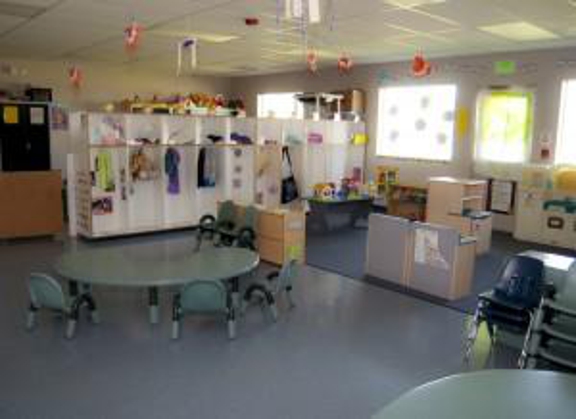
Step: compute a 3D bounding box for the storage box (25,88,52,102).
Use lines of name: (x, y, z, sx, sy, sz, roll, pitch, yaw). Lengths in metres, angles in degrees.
storage box: (-6.426, -2.967, 10.765, 0.620, 0.351, 1.293, -6, 16, -27)

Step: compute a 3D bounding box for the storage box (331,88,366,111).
storage box: (1.644, -2.818, 11.009, 0.616, 0.473, 0.626, -7, 11, -39)

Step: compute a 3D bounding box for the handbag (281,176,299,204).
handbag: (0.030, -0.484, 9.897, 0.458, 0.521, 0.212, -28, 27, -33)

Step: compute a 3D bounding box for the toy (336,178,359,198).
toy: (1.386, -0.513, 9.418, 0.550, 0.523, 0.369, -5, 15, -29)

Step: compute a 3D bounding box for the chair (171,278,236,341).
chair: (-0.853, 0.962, 4.784, 0.817, 0.812, 0.657, 0, 21, -6)

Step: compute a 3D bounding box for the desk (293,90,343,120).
desk: (0.884, -2.704, 10.774, 0.707, 0.522, 0.866, 3, 20, -16)

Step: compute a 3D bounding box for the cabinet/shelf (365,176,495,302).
cabinet/shelf: (2.576, 0.351, 6.869, 1.578, 1.485, 2.507, 9, 12, 44)

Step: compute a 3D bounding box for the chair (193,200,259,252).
chair: (-1.066, 0.297, 7.194, 0.365, 0.607, 0.862, 4, 4, -40)

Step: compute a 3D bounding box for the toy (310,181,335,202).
toy: (0.789, -0.400, 9.001, 0.389, 0.300, 0.394, -3, 10, -35)
